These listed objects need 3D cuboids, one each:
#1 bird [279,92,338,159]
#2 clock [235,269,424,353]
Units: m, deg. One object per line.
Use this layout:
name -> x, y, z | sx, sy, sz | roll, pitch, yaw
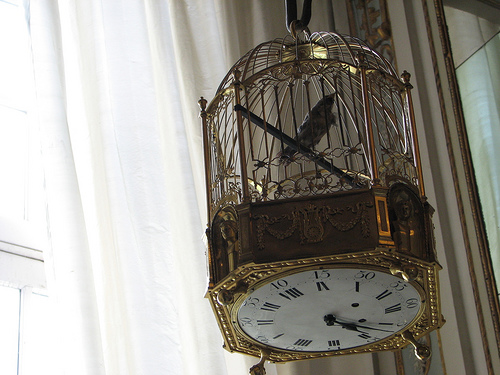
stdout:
bird -> 0.212, -0.219, 4.304 | 0.090, 0.115, 0.275 | 33, -81, -31
clock -> 0.259, 0.410, 3.841 | 0.596, 0.269, 0.335 | 6, -11, 7
